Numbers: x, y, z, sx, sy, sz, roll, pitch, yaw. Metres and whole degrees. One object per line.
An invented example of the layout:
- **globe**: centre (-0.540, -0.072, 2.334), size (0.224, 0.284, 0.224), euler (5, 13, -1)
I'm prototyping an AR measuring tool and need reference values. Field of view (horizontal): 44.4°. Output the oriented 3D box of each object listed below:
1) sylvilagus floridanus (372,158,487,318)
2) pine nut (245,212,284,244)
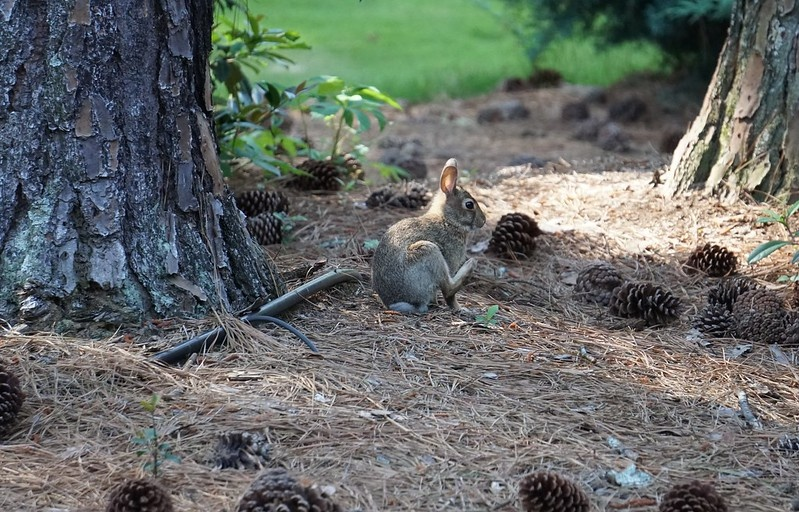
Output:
- **sylvilagus floridanus**: centre (0.256, -0.160, 7.692), size (0.744, 1.013, 0.924), euler (13, 29, 17)
- **pine nut**: centre (-1.173, -0.252, 8.632), size (0.325, 0.304, 0.257), euler (0, 70, -9)
